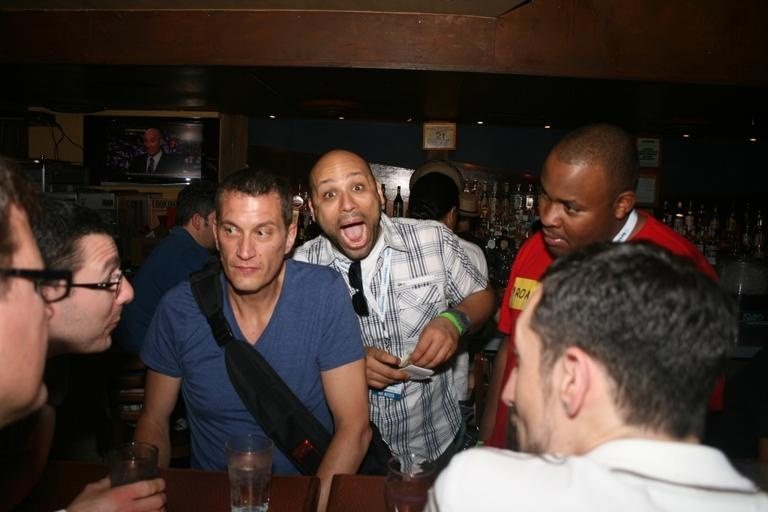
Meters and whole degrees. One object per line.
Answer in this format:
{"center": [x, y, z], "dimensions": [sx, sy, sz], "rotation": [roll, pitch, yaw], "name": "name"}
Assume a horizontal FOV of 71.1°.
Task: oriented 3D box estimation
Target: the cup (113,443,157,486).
{"center": [-0.905, 0.750, 1.994], "dimensions": [0.143, 0.151, 0.145], "rotation": [1, 6, 0], "name": "cup"}

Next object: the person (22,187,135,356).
{"center": [-1.220, 0.021, 2.411], "dimensions": [0.616, 0.715, 0.539], "rotation": [-6, 20, -30], "name": "person"}

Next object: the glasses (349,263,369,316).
{"center": [-0.138, 0.170, 2.802], "dimensions": [0.081, 0.082, 0.291], "rotation": [-14, 44, 8], "name": "glasses"}

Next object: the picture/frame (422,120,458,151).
{"center": [0.611, -1.326, 5.912], "dimensions": [0.351, 0.279, 0.048], "rotation": [2, 4, 0], "name": "picture/frame"}

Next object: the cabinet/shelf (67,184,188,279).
{"center": [-1.920, -0.186, 4.060], "dimensions": [0.949, 0.848, 0.660], "rotation": [1, 12, 0], "name": "cabinet/shelf"}

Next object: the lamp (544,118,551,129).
{"center": [1.846, -1.474, 6.054], "dimensions": [0.059, 0.065, 0.171], "rotation": [-4, -3, 13], "name": "lamp"}
